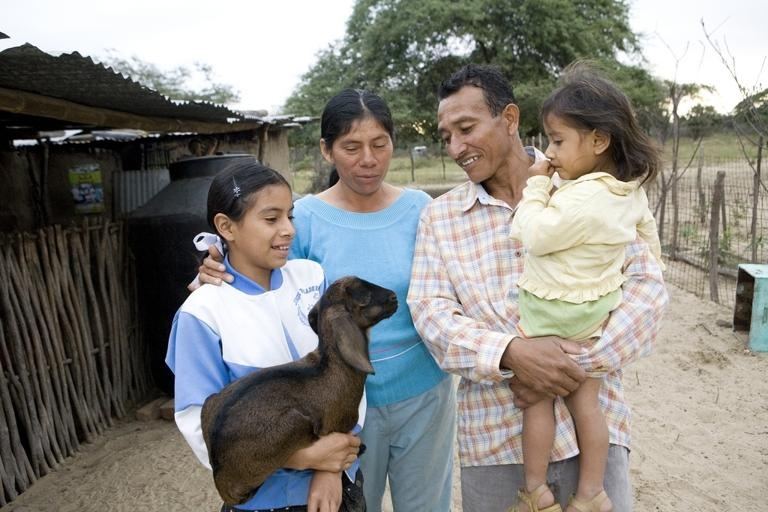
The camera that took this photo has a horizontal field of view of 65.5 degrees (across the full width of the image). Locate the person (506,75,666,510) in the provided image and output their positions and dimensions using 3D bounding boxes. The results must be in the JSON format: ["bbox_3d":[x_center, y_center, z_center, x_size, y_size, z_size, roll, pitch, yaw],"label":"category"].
[{"bbox_3d":[1.393,0.238,4.293,0.865,3.132,1.043,3,11,33],"label":"person"}]
